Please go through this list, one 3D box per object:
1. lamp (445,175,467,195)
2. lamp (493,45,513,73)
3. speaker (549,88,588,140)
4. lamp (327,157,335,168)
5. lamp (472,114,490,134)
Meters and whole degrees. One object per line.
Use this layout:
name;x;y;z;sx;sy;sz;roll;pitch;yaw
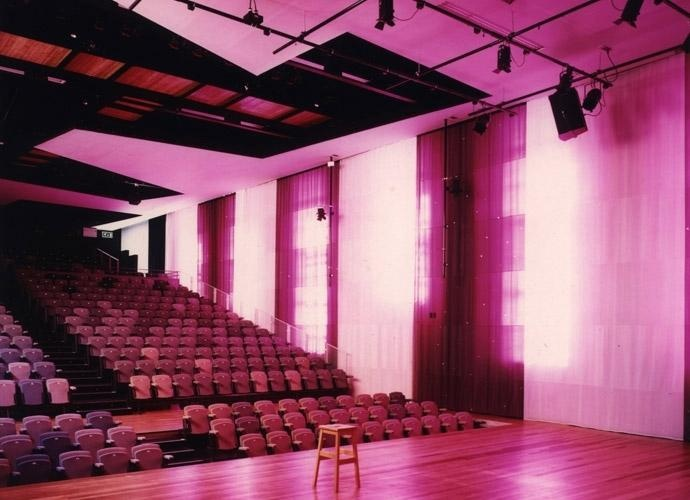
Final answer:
lamp;2.337;-1.367;11.135;0.238;0.396;0.433;4;-5;-33
lamp;2.419;-2.926;8.145;0.256;0.488;0.346;-4;-9;12
speaker;3.757;-2.334;8.951;0.646;1.018;0.636;9;8;18
lamp;-0.331;-2.225;13.436;0.200;0.218;0.196;2;-6;-26
lamp;2.611;-2.398;10.167;0.258;0.438;0.449;5;-4;31
